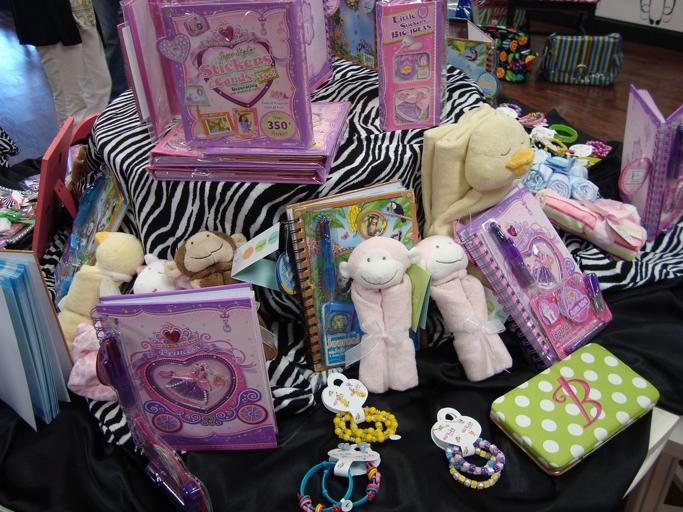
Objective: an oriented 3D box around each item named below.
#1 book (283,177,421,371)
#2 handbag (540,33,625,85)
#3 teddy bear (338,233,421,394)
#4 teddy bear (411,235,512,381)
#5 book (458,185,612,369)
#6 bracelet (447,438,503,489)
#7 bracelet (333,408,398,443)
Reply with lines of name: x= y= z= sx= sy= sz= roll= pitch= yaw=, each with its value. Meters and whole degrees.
book: x=0.037 y=0.054 z=1.556 sx=0.458 sy=0.665 sz=0.114 roll=-14 pitch=18 yaw=-8
handbag: x=1.957 y=-1.587 z=3.994 sx=0.443 sy=0.318 sz=0.185 roll=9 pitch=39 yaw=17
teddy bear: x=0.118 y=0.184 z=1.518 sx=0.235 sy=0.424 sz=0.225 roll=-3 pitch=30 yaw=-1
teddy bear: x=0.383 y=0.158 z=1.577 sx=0.203 sy=0.374 sz=0.331 roll=-19 pitch=35 yaw=-27
book: x=0.595 y=0.089 z=1.773 sx=0.467 sy=0.626 sz=0.150 roll=-33 pitch=3 yaw=-22
bracelet: x=0.379 y=0.572 z=1.354 sx=0.165 sy=0.050 sz=0.118 roll=-9 pitch=32 yaw=-12
bracelet: x=0.071 y=0.496 z=1.440 sx=0.123 sy=0.024 sz=0.108 roll=4 pitch=31 yaw=7
